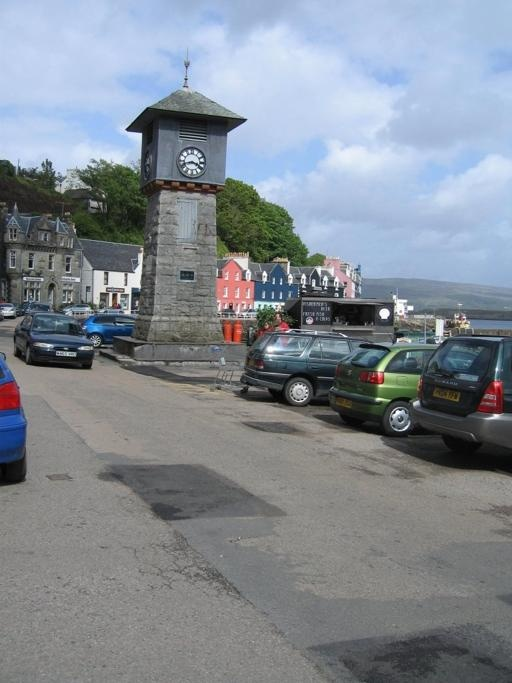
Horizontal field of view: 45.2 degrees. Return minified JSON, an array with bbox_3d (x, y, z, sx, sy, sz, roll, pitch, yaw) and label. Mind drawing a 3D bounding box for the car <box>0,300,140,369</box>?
[{"bbox_3d":[-6.604,-0.087,20.298,1.855,1.869,3.062,5,-1,-31],"label":"car"}]
